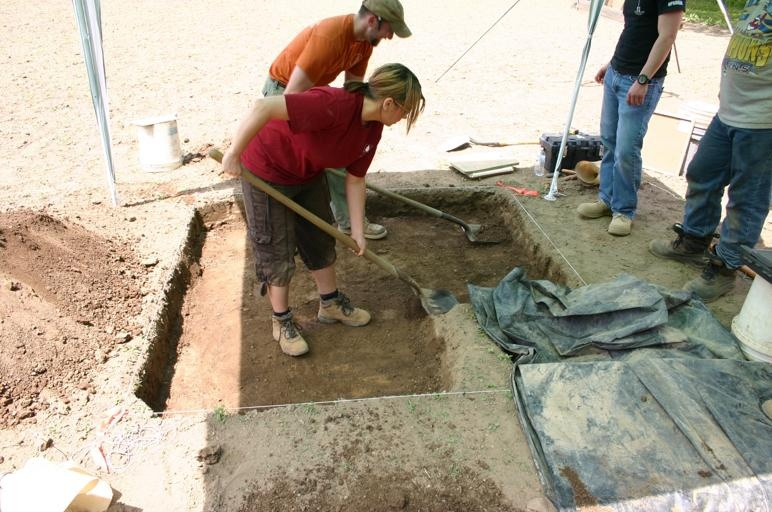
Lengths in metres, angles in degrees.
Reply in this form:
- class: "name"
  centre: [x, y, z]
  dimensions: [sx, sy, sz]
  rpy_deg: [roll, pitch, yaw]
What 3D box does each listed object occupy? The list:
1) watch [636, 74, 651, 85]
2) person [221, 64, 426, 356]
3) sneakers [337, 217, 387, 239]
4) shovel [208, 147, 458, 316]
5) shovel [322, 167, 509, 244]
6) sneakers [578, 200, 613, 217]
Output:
- class: "watch"
  centre: [2.307, -1.576, 5.227]
  dimensions: [0.115, 0.070, 0.112]
  rpy_deg: [25, 24, 24]
- class: "person"
  centre: [-0.521, -0.300, 4.495]
  dimensions: [1.292, 2.309, 0.626]
  rpy_deg: [-9, 38, -13]
- class: "sneakers"
  centre: [-0.251, -0.266, 6.160]
  dimensions: [0.551, 0.237, 0.194]
  rpy_deg: [0, 44, 0]
- class: "shovel"
  centre: [-0.512, -0.151, 5.266]
  dimensions: [3.046, 0.242, 0.561]
  rpy_deg: [28, 42, -13]
- class: "shovel"
  centre: [0.397, -0.598, 6.294]
  dimensions: [1.901, 0.385, 0.192]
  rpy_deg: [26, 54, 16]
- class: "sneakers"
  centre: [2.112, -0.472, 5.961]
  dimensions: [0.387, 0.157, 0.140]
  rpy_deg: [4, 33, -12]
